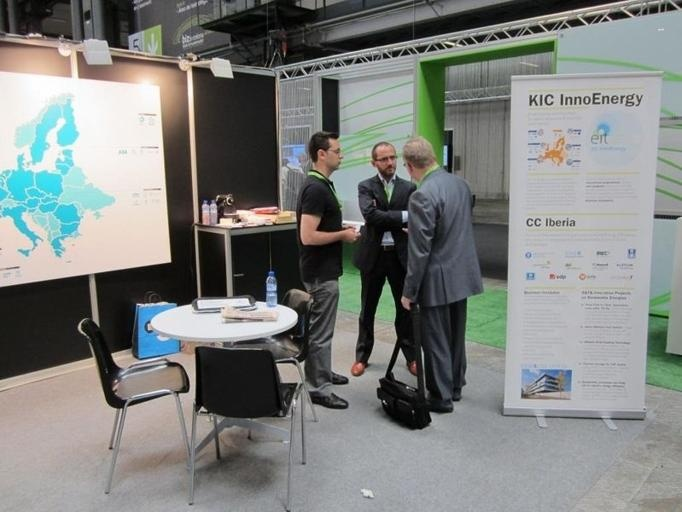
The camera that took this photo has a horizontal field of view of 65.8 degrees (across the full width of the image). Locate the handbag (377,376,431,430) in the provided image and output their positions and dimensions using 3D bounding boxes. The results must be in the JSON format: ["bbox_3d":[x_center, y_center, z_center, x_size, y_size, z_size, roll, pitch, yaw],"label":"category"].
[{"bbox_3d":[0.467,1.110,3.916,0.148,0.255,0.354,-23,20,-31],"label":"handbag"}]

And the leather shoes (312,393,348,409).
[{"bbox_3d":[-0.088,1.155,4.210,0.287,0.118,0.117,3,5,16],"label":"leather shoes"}]

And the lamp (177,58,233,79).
[{"bbox_3d":[-1.356,-1.900,5.303,0.382,0.136,0.226,-6,14,-32],"label":"lamp"}]

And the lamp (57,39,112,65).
[{"bbox_3d":[-2.240,-1.742,4.604,0.279,0.184,0.280,14,16,31],"label":"lamp"}]

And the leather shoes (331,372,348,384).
[{"bbox_3d":[-0.011,1.064,4.567,0.188,0.076,0.070,0,10,9],"label":"leather shoes"}]

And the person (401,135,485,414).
[{"bbox_3d":[0.767,0.158,4.003,0.599,2.062,0.442,1,14,7],"label":"person"}]

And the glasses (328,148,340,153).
[{"bbox_3d":[-0.038,-0.841,4.143,0.067,0.042,0.200,3,15,14],"label":"glasses"}]

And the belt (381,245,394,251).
[{"bbox_3d":[0.400,-0.075,4.480,0.095,0.046,0.020,-3,14,-9],"label":"belt"}]

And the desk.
[{"bbox_3d":[-0.759,0.811,3.745,0.926,0.713,0.938,3,17,8],"label":"desk"}]
